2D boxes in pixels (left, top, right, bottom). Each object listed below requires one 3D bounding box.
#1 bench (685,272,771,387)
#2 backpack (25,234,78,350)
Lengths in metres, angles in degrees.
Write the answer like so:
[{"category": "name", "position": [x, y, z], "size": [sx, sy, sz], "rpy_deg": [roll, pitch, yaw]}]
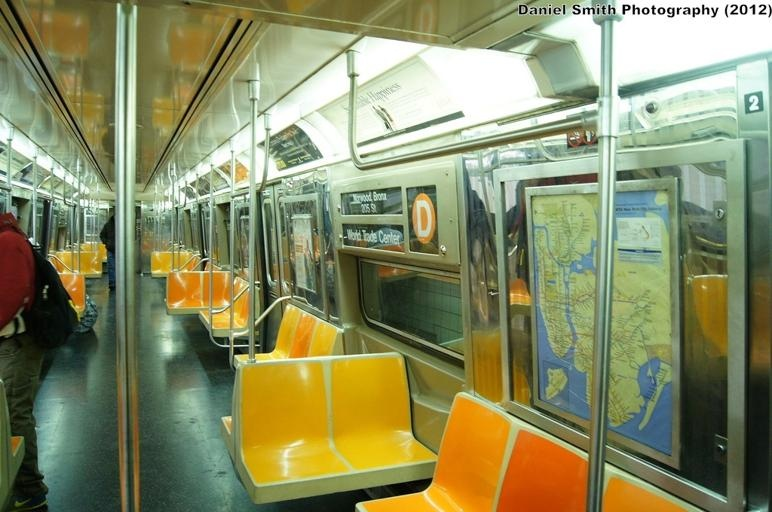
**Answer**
[{"category": "bench", "position": [1.478, 0.308, 2.555], "size": [0.046, 0.452, 0.324], "rpy_deg": [-3, 4, -36]}, {"category": "backpack", "position": [-2.678, 0.334, 4.660], "size": [0.447, 0.798, 0.546], "rpy_deg": [-1, 6, -16]}]
